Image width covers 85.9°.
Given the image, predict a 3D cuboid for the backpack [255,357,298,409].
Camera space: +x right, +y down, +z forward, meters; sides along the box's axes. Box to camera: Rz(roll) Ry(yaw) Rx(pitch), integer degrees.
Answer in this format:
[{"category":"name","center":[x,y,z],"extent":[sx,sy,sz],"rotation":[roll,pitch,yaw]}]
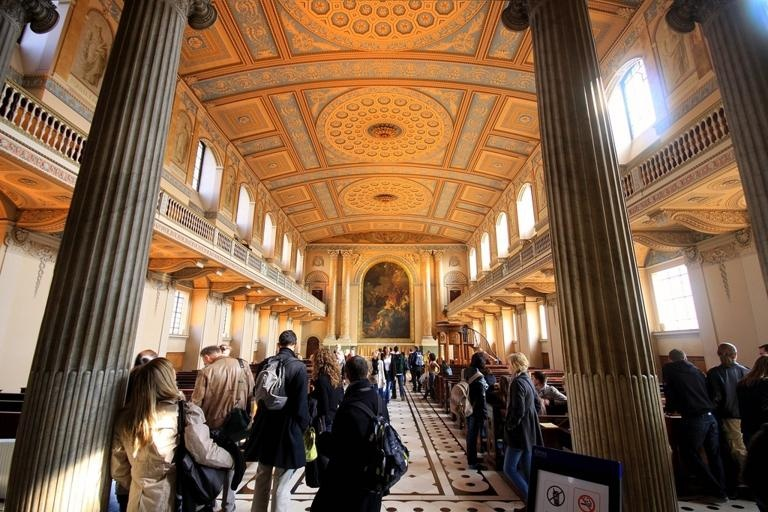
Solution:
[{"category":"backpack","center":[-1.382,1.567,5.128],"extent":[0.385,0.614,0.258],"rotation":[4,-18,-14]}]

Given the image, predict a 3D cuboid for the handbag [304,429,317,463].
[{"category":"handbag","center":[-0.923,2.403,5.260],"extent":[0.151,0.415,0.205],"rotation":[-2,-18,4]}]

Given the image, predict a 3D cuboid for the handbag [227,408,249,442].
[{"category":"handbag","center":[-1.849,2.149,5.318],"extent":[0.311,0.381,0.318],"rotation":[13,-22,-37]}]

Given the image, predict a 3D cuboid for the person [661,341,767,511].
[{"category":"person","center":[4.891,2.460,6.202],"extent":[1.159,2.198,0.771],"rotation":[-6,-18,15]}]

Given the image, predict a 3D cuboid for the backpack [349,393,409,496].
[{"category":"backpack","center":[-0.053,1.992,4.341],"extent":[0.596,0.908,0.307],"rotation":[0,-18,-1]}]
